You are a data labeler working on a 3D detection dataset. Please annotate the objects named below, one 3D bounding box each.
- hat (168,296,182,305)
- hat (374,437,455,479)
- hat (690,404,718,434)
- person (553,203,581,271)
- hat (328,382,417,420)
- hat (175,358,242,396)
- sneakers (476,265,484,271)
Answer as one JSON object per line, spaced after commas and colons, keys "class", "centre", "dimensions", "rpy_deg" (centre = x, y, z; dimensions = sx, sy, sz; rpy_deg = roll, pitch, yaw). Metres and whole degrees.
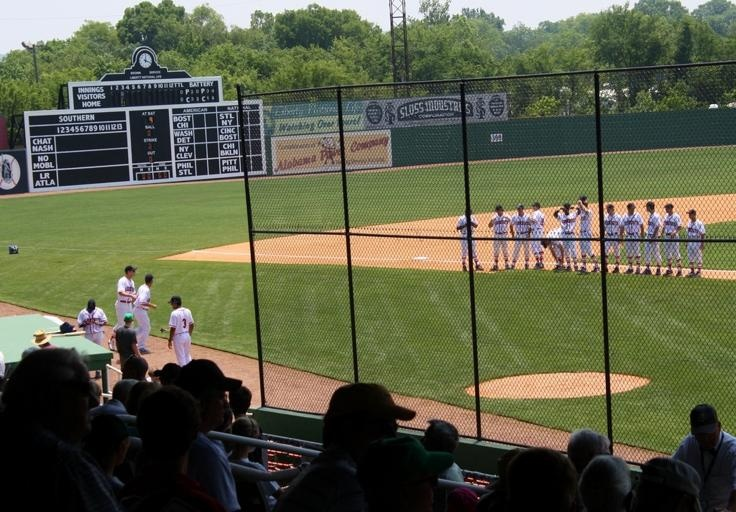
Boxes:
{"class": "hat", "centre": [-3.829, 0.921, 17.989], "dimensions": [0.269, 0.183, 0.353], "rpy_deg": [-3, 14, -20]}
{"class": "hat", "centre": [0.434, 1.635, 7.300], "dimensions": [0.521, 0.180, 0.394], "rpy_deg": [0, -16, 18]}
{"class": "hat", "centre": [3.563, 1.717, 9.605], "dimensions": [0.225, 0.172, 0.341], "rpy_deg": [-9, 13, 23]}
{"class": "person", "centre": [4.947, -0.451, 22.229], "dimensions": [0.622, 1.607, 0.522], "rpy_deg": [-5, 3, 26]}
{"class": "hat", "centre": [-0.006, 1.191, 7.656], "dimensions": [0.538, 0.191, 0.366], "rpy_deg": [0, -1, -7]}
{"class": "hat", "centre": [-1.501, 1.113, 8.409], "dimensions": [0.628, 0.319, 0.428], "rpy_deg": [-8, 7, -11]}
{"class": "sneakers", "centre": [2.875, 0.303, 23.237], "dimensions": [0.277, 0.103, 0.091], "rpy_deg": [7, 21, -35]}
